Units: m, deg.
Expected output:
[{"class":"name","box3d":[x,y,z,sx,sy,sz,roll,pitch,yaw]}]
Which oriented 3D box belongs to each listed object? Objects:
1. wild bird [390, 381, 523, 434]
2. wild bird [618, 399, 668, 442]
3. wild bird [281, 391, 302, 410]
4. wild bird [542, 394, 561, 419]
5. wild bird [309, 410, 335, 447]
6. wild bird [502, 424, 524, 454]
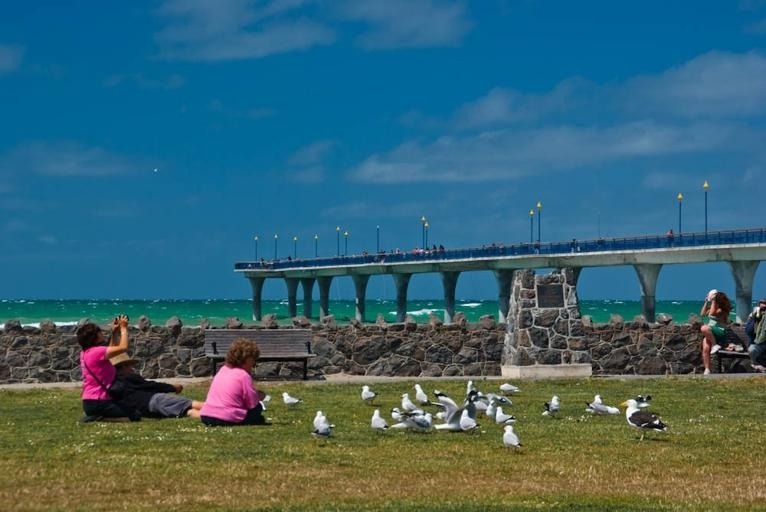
[{"class":"wild bird","box3d":[1.338,3.662,38.144,1.894,0.974,1.001,-1,-5,3]},{"class":"wild bird","box3d":[6.208,3.814,37.996,1.264,0.905,0.605,0,-11,7]},{"class":"wild bird","box3d":[-2.371,3.613,40.449,0.755,0.454,0.242,-13,-8,43]},{"class":"wild bird","box3d":[4.206,3.701,39.812,0.452,0.495,1.178,-1,-5,6]},{"class":"wild bird","box3d":[-1.460,4.019,37.743,0.322,0.638,1.013,3,-3,14]},{"class":"wild bird","box3d":[3.028,4.191,37.380,0.434,0.597,1.138,-1,-5,5]}]
